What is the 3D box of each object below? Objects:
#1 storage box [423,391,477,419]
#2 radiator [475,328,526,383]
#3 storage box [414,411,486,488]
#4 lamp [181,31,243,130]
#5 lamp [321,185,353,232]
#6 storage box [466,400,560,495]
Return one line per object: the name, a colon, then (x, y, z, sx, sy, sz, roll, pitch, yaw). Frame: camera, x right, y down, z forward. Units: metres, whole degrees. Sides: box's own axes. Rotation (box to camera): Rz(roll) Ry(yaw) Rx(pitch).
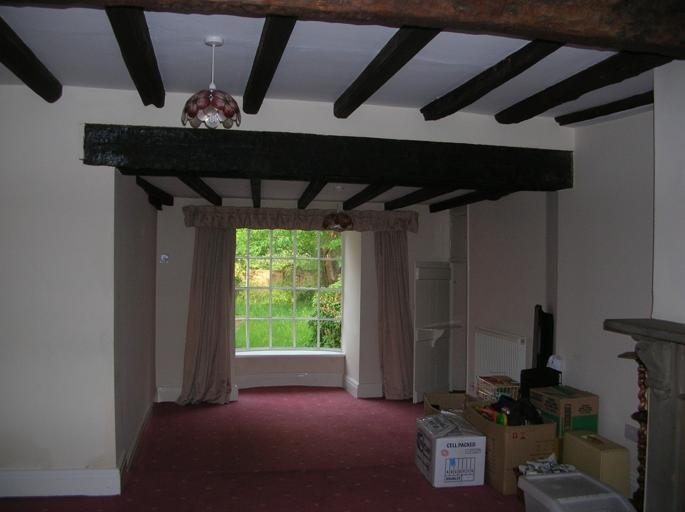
storage box: (1.015, 1.443, 5.119, 0.269, 0.177, 0.268, 1, -3, -7)
radiator: (1.663, 1.044, 5.522, 0.051, 0.700, 0.662, 2, -3, -21)
storage box: (0.937, 1.704, 4.696, 0.456, 0.515, 0.614, 3, -3, -10)
lamp: (-0.835, -1.054, 3.411, 0.334, 0.569, 0.784, 0, 2, -12)
lamp: (-0.149, -0.552, 7.068, 0.388, 0.554, 0.381, -2, 5, -30)
storage box: (1.430, 1.432, 4.461, 0.472, 0.600, 0.899, -1, 0, -12)
